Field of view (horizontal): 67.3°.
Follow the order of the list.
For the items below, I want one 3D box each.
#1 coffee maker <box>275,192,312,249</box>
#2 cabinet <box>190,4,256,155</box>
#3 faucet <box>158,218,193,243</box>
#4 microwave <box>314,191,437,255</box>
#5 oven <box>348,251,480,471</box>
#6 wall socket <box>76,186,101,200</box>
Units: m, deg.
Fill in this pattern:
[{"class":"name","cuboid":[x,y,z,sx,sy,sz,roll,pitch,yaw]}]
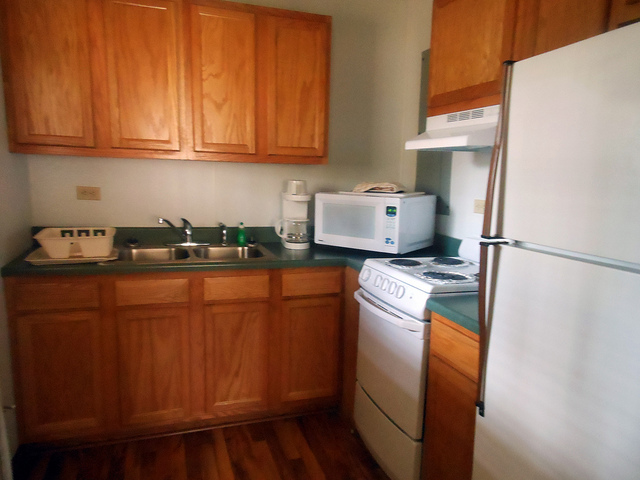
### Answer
[{"class":"coffee maker","cuboid":[-0.171,-0.116,3.128,0.206,0.386,0.204,-1,13,-22]},{"class":"cabinet","cuboid":[-0.593,-0.923,2.905,0.381,0.802,0.272,-1,14,-25]},{"class":"faucet","cuboid":[-0.931,-0.063,3.112,0.206,0.162,0.109,-4,11,-15]},{"class":"microwave","cuboid":[0.385,-0.113,2.901,0.584,0.361,0.409,4,6,41]},{"class":"oven","cuboid":[0.457,0.601,2.490,0.439,0.962,0.694,-5,11,-20]},{"class":"wall socket","cuboid":[-1.434,-0.289,2.977,0.119,0.078,0.031,2,6,-18]}]
